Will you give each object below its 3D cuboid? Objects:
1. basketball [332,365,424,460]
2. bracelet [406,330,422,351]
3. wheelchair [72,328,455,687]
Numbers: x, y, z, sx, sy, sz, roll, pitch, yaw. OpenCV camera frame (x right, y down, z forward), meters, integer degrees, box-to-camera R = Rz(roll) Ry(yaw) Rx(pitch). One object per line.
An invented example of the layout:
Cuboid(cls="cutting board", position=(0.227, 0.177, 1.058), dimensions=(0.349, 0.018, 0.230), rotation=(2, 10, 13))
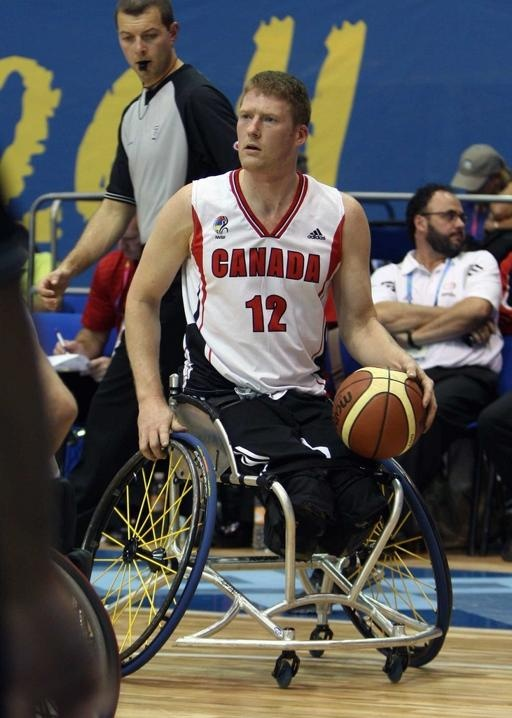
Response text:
Cuboid(cls="basketball", position=(0.336, 0.157, 2.616), dimensions=(0.276, 0.257, 0.264), rotation=(10, -6, -2))
Cuboid(cls="bracelet", position=(0.916, -0.112, 5.065), dimensions=(0.086, 0.107, 0.043), rotation=(0, 7, -10))
Cuboid(cls="wheelchair", position=(0.065, 0.321, 2.909), dimensions=(1.250, 1.046, 1.168), rotation=(5, 14, 34))
